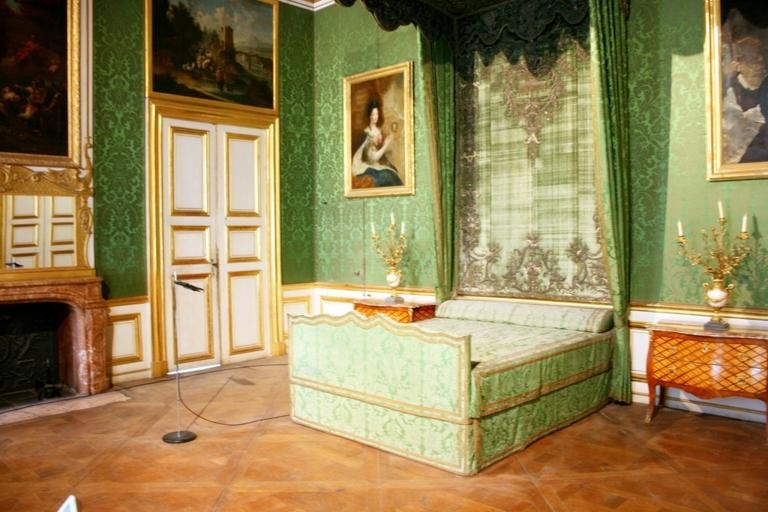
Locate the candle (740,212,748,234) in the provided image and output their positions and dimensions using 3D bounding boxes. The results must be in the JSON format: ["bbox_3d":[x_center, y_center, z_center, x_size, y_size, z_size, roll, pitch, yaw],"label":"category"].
[{"bbox_3d":[3.311,-0.300,5.163,0.061,0.181,0.286,5,12,32],"label":"candle"}]

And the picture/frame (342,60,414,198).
[{"bbox_3d":[-0.067,-1.640,7.367,1.170,1.682,0.235,6,12,33],"label":"picture/frame"}]

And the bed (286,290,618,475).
[{"bbox_3d":[0.761,1.034,5.845,2.629,1.069,2.504,-4,2,-41],"label":"bed"}]
